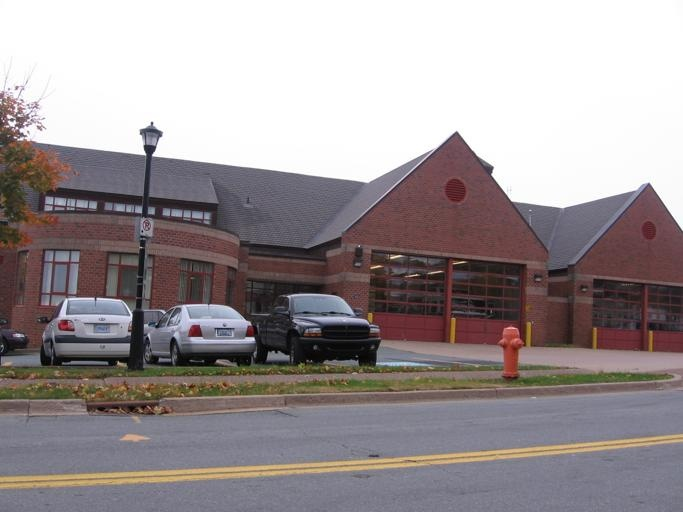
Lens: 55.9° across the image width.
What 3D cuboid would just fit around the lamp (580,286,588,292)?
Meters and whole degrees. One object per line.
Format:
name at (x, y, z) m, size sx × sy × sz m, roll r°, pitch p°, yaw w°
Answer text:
lamp at (15.362, 1.827, 40.874) m, size 0.441 × 0.313 × 0.195 m, roll 4°, pitch -21°, yaw -11°

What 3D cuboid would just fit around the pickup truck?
pickup truck at (-1.037, 2.025, 18.812) m, size 2.101 × 1.177 × 3.752 m, roll 3°, pitch -9°, yaw -24°

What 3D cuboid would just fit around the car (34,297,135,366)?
car at (-6.814, 1.923, 17.357) m, size 1.863 × 1.020 × 2.810 m, roll 1°, pitch -1°, yaw -20°

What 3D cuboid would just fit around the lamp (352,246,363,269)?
lamp at (0.894, -0.251, 34.999) m, size 0.609 × 1.253 × 0.515 m, roll 4°, pitch -10°, yaw -7°

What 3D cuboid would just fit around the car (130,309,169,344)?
car at (-6.409, 2.268, 21.447) m, size 1.322 × 0.902 × 1.946 m, roll 0°, pitch 0°, yaw -19°
